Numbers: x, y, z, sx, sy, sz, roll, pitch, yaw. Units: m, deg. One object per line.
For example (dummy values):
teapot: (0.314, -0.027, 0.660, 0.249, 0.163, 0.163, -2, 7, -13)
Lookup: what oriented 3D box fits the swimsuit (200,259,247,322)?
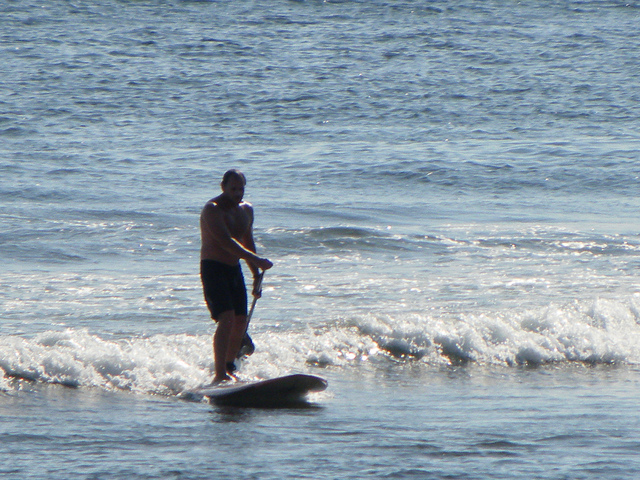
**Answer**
swimsuit: (-2.265, 1.183, 35.711, 1.024, 1.374, 0.930, -3, 34, -16)
